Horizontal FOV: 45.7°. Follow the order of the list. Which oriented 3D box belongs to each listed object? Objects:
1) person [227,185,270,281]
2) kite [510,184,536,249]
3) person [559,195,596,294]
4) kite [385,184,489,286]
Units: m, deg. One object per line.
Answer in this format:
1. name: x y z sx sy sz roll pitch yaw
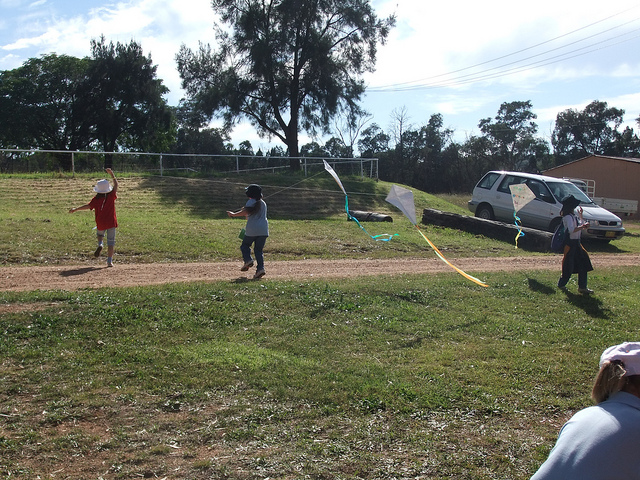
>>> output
1. person: -1.618 -0.215 18.242 0.712 2.184 0.661 2 11 -7
2. kite: 6.694 -0.918 25.260 0.748 2.027 2.028 6 11 16
3. person: 6.239 0.069 18.444 0.890 2.280 1.058 7 11 20
4. kite: 2.573 -0.455 19.113 1.334 0.548 3.670 29 9 -46
